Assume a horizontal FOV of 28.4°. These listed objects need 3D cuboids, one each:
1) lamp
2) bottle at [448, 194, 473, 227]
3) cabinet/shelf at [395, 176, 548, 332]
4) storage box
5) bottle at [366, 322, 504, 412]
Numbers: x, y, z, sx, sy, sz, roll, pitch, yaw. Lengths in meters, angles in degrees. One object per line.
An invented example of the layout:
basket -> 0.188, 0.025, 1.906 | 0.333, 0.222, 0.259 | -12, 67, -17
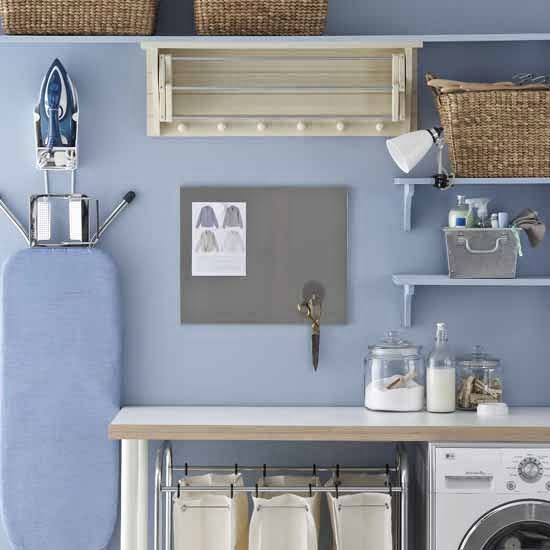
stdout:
lamp -> 0.525, -0.430, 3.993 | 0.193, 0.219, 0.100 | -20, 39, -1
bottle -> 0.676, -0.232, 3.960 | 0.115, 0.147, 0.111 | 0, 1, 0
cabinet/shelf -> 0.736, -0.098, 4.077 | 0.632, 0.508, 0.180 | 0, 3, 0
storage box -> 0.760, -0.074, 3.930 | 0.295, 0.191, 0.183 | 0, -2, 2
bottle -> 0.571, 0.362, 3.987 | 0.529, 0.326, 0.270 | 0, -4, 8
